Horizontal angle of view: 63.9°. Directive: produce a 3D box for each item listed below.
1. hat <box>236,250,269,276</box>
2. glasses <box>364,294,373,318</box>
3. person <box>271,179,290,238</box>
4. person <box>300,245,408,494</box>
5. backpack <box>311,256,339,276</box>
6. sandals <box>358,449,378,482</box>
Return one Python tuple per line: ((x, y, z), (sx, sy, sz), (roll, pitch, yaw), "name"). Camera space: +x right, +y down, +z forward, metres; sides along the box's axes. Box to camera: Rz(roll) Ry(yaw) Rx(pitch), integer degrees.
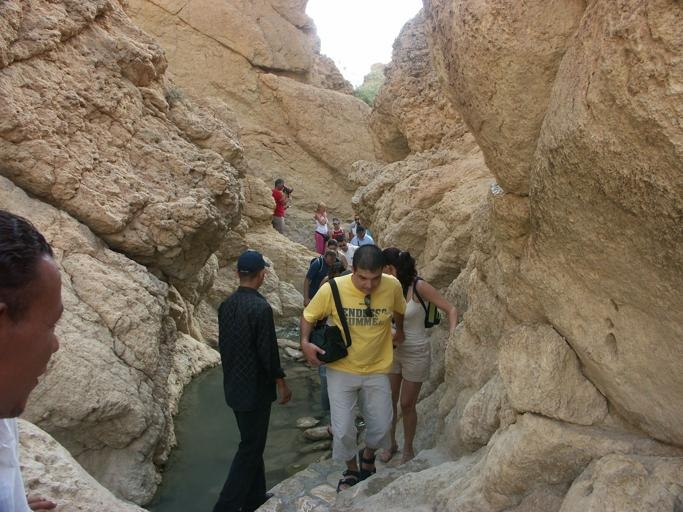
((-0.723, 0.056, 4.509), (0.152, 0.139, 0.240), (1, 22, 10), "hat")
((0.209, 0.383, 4.187), (0.045, 0.174, 0.081), (-11, -18, 32), "glasses")
((-1.531, -1.178, 13.769), (0.596, 0.617, 1.784), (-6, -31, -7), "person")
((0.135, 0.912, 4.295), (0.712, 1.788, 0.830), (-8, -17, 26), "person")
((-0.243, 0.089, 7.367), (0.315, 0.330, 0.201), (2, -6, 35), "backpack")
((0.213, 1.739, 4.550), (0.091, 0.268, 0.092), (5, 0, -25), "sandals")
